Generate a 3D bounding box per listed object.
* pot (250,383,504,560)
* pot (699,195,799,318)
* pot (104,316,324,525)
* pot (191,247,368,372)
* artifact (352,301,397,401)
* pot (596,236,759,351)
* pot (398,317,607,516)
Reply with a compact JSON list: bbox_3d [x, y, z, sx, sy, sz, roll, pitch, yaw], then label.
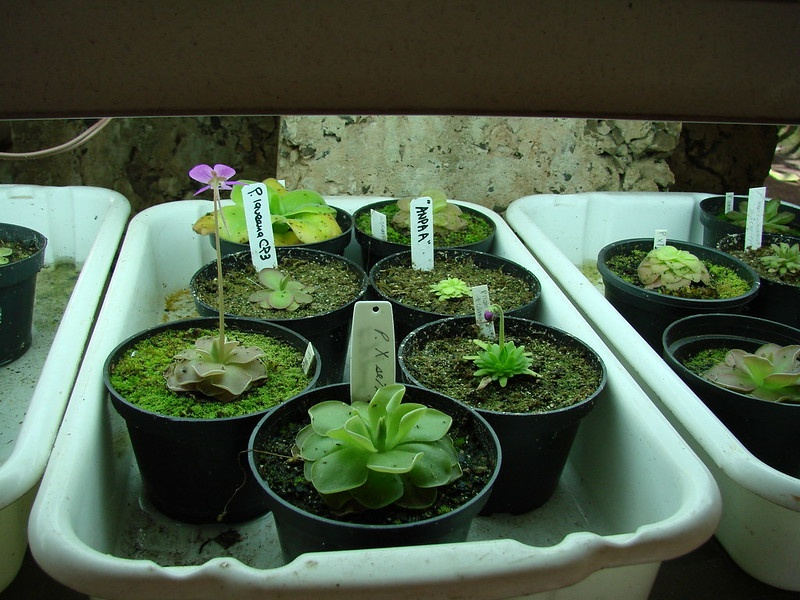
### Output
[{"bbox_3d":[-0.060,0.181,1.015,0.342,0.207,0.333,0,23,0],"label":"pot"},{"bbox_3d":[1.007,-0.116,1.832,0.271,0.221,0.293,-2,27,1],"label":"pot"},{"bbox_3d":[-0.395,0.241,1.310,0.390,0.247,0.382,3,18,-1],"label":"pot"},{"bbox_3d":[-0.282,-0.026,1.616,0.366,0.233,0.359,1,22,0],"label":"pot"},{"bbox_3d":[-0.041,0.094,1.122,0.080,0.197,0.020,0,17,-2],"label":"artifact"},{"bbox_3d":[0.752,-0.014,1.822,0.350,0.210,0.344,3,28,-1],"label":"pot"},{"bbox_3d":[0.203,0.163,1.374,0.410,0.261,0.399,-1,26,1],"label":"pot"}]
